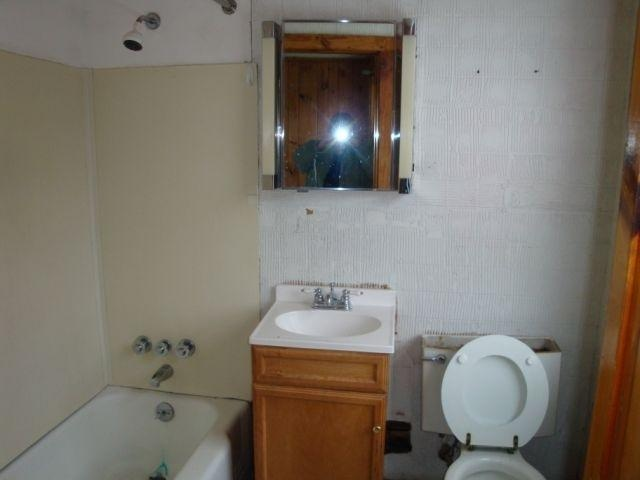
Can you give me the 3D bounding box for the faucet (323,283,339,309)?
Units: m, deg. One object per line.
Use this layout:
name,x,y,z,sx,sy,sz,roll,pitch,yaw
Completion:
faucet,0.056,0.280,2.592,0.082,0.176,0.089,1,12,11

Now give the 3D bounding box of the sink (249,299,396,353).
sink,0.031,0.401,2.420,0.626,0.139,0.402,3,7,7

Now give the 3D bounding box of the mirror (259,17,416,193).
mirror,0.098,-0.665,2.452,0.731,0.888,0.069,0,5,4
